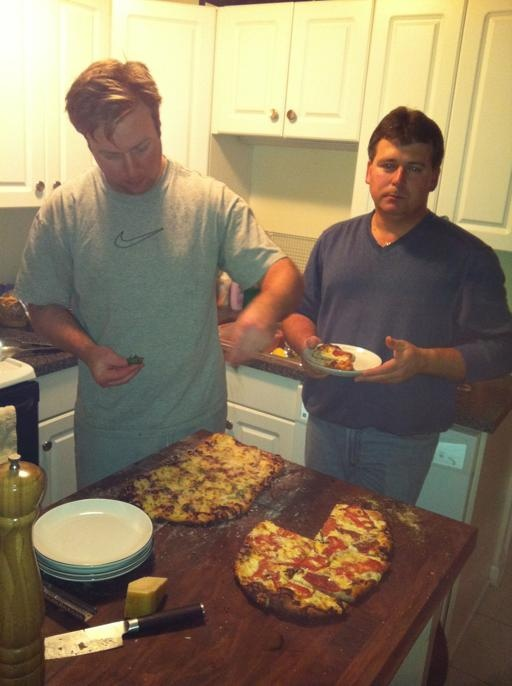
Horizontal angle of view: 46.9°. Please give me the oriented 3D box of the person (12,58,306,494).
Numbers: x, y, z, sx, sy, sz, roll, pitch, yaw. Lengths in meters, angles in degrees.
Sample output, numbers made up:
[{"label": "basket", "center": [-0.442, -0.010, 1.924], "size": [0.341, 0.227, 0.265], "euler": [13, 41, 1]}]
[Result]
[{"label": "person", "center": [-0.272, -0.096, 1.647], "size": [0.666, 1.134, 0.659], "euler": [-2, 19, -23]}]

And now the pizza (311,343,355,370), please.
[{"label": "pizza", "center": [0.214, 0.042, 1.624], "size": [0.119, 0.031, 0.169], "euler": [5, 19, 6]}]

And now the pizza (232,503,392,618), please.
[{"label": "pizza", "center": [0.104, 0.321, 0.960], "size": [0.227, 0.081, 0.209], "euler": [6, 10, 27]}]

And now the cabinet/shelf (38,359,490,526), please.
[{"label": "cabinet/shelf", "center": [0.040, 0.251, 1.549], "size": [0.671, 0.389, 0.364], "euler": [9, 7, 31]}]

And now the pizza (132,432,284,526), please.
[{"label": "pizza", "center": [-0.091, 0.268, 1.178], "size": [0.128, 0.021, 0.198], "euler": [14, 16, 27]}]
